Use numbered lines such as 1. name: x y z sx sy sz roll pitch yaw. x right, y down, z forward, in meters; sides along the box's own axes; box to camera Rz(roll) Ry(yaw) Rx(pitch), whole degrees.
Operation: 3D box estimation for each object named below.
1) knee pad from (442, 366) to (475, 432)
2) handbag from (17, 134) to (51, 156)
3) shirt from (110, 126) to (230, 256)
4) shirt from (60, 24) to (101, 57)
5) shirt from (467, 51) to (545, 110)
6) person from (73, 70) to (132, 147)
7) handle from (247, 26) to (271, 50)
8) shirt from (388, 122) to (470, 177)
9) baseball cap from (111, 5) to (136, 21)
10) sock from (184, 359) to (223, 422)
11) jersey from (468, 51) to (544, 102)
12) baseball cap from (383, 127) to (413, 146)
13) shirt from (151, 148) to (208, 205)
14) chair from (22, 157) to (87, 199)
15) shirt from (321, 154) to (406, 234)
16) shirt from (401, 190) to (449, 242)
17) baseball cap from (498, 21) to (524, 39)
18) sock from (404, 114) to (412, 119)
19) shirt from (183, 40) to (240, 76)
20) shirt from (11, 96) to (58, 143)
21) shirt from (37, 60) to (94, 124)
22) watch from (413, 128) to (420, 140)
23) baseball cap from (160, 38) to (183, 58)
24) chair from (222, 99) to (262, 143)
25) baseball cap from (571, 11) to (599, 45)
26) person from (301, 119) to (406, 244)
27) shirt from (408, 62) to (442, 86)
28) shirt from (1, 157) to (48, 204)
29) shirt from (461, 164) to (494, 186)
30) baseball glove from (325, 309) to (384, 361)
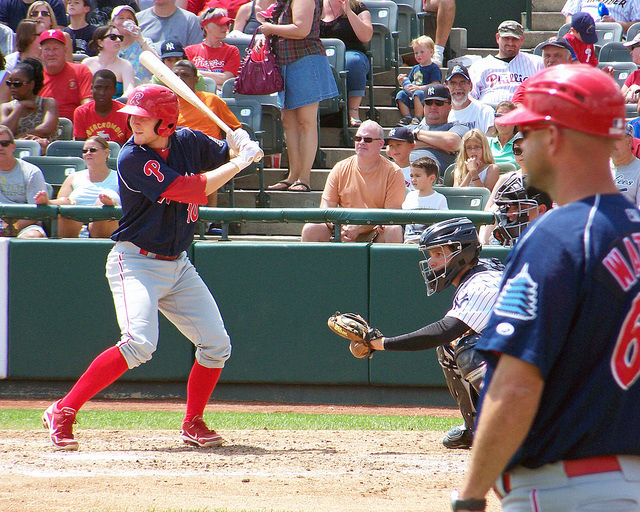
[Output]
1. knee pad: 0.869 0.926 8.311 0.182 0.372 0.266 -11 10 -37
2. handbag: -2.503 -0.984 11.482 0.273 0.170 0.312 -1 8 -13
3. shirt: -0.981 -0.423 8.515 0.666 0.834 0.846 4 19 19
4. shirt: -2.503 -2.280 13.673 0.352 0.348 0.775 -1 7 -10
5. shirt: 1.771 -1.726 12.570 0.695 0.491 0.457 1 7 5
6. person: -1.926 -1.245 11.623 0.563 0.849 0.468 0 10 -4
7. handle: -0.507 -1.930 11.645 0.155 0.251 0.076 3 15 9
8. shirt: 1.002 -0.974 11.504 0.606 0.527 0.500 4 15 12
9. baseball cap: -1.931 -2.403 12.844 0.226 0.160 0.355 -1 7 -9
10. sock: -0.767 0.893 8.565 0.236 0.406 0.144 0 7 -5
11. jersey: 1.742 -1.747 12.601 0.516 0.674 0.610 -9 18 -29
12. baseball cap: 0.653 -1.008 10.940 0.247 0.149 0.243 2 7 10
13. shirt: -0.842 -0.434 8.206 0.211 0.087 0.211 6 51 -6
14. chair: -2.218 -0.725 11.002 0.451 0.461 0.369 2 9 1
15. shirt: 0.336 -0.520 10.463 0.658 0.513 0.321 7 6 8
16. shirt: 0.817 -0.350 10.197 0.314 0.427 0.350 6 15 4
17. baseball cap: 1.841 -2.203 12.652 0.213 0.175 0.326 2 7 11
18. sock: 0.878 -1.380 12.802 0.041 0.042 0.026 5 33 -8
19. shirt: -1.038 -1.909 12.601 0.610 0.468 0.319 0 2 0
20. shirt: -2.540 -1.229 11.690 0.390 0.390 0.180 -1 7 -12
21. shirt: -2.439 -1.421 12.214 0.647 0.746 0.413 2 10 -6
22. watch: 0.833 -1.066 11.487 0.088 0.091 0.080 0 9 3
23. baseball cap: -1.414 -1.988 12.381 0.228 0.183 0.347 -9 12 7
24. chair: -0.653 -1.253 12.067 0.381 0.444 0.361 0 6 5
25. baseball cap: 2.383 -2.075 11.845 0.203 0.287 0.317 2 7 10
26. person: 0.274 -0.585 10.193 0.781 0.915 0.709 1 7 4
27. shirt: 1.048 -1.821 13.021 0.294 0.228 0.425 1 7 2
28. shirt: -2.401 -0.601 10.576 0.374 0.315 0.213 1 19 3
29. shirt: 1.262 -0.662 10.648 0.257 0.175 0.146 3 8 16
30. baseball glove: 0.155 0.448 8.217 0.429 0.200 0.320 31 -6 9
